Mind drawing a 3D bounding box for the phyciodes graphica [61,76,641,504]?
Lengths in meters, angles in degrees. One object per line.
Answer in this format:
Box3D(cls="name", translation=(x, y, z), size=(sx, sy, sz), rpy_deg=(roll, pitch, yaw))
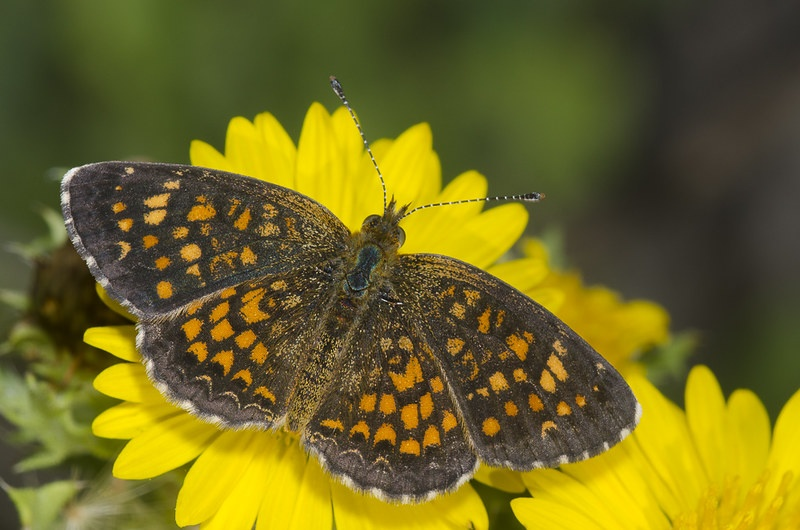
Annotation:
Box3D(cls="phyciodes graphica", translation=(-0.124, 0.157, 3.508), size=(2.360, 1.386, 0.304), rpy_deg=(21, 17, -10))
